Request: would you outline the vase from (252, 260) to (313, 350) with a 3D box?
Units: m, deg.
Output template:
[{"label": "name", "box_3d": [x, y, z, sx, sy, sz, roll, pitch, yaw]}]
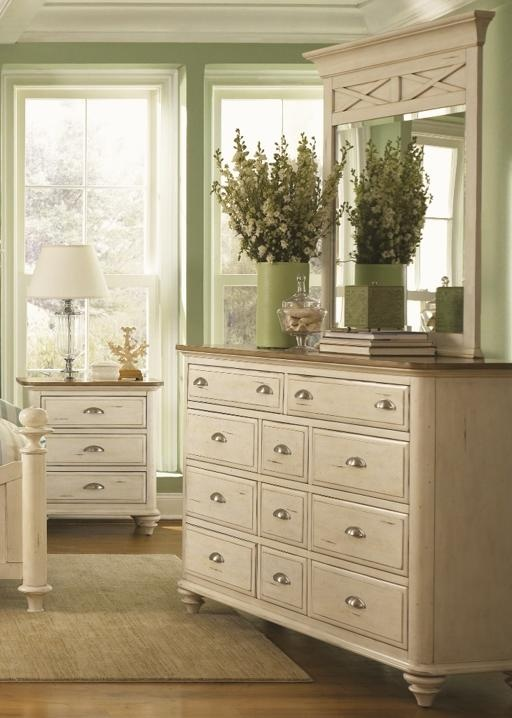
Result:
[{"label": "vase", "box_3d": [0.088, -0.180, 2.416, 0.172, 0.304, 0.171, 2, -4, 1]}]

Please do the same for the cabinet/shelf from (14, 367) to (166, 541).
[{"label": "cabinet/shelf", "box_3d": [-0.791, 0.449, 3.888, 1.089, 1.126, 0.661, 0, -3, -6]}]

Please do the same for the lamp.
[{"label": "lamp", "box_3d": [-1.032, -0.269, 3.805, 0.395, 0.766, 0.478, 3, -4, -17]}]
